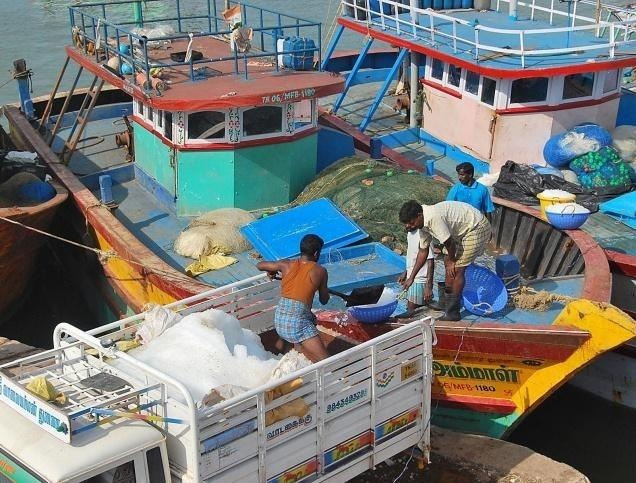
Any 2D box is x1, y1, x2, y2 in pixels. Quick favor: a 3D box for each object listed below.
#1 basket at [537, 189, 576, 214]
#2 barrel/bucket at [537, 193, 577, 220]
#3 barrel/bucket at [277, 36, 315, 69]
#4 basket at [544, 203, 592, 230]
[{"bbox_3d":[3.689,-0.605,9.702,0.565,0.244,0.455,-2,13,-9],"label":"basket"},{"bbox_3d":[3.625,-0.572,9.678,0.600,0.293,0.507,9,20,33],"label":"barrel/bucket"},{"bbox_3d":[-0.406,-3.256,11.005,0.798,0.617,0.630,-1,40,-5],"label":"barrel/bucket"},{"bbox_3d":[3.558,-0.360,8.998,0.556,0.218,0.449,2,9,16],"label":"basket"}]
